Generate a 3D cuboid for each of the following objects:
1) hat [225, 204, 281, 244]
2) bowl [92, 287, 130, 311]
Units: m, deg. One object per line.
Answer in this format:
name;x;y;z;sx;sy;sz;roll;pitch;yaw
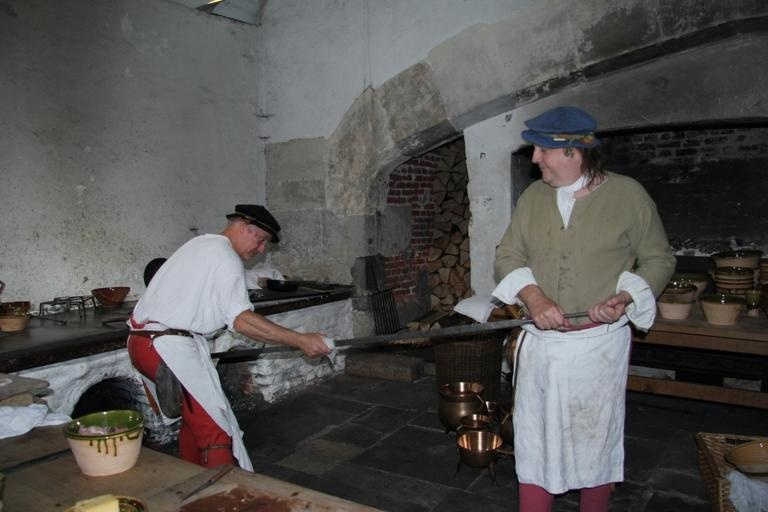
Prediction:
hat;-0.868;-0.250;4.110;0.392;0.172;0.284;27;-5;-1
bowl;-2.674;0.398;5.744;0.310;0.191;0.361;-6;5;-15
